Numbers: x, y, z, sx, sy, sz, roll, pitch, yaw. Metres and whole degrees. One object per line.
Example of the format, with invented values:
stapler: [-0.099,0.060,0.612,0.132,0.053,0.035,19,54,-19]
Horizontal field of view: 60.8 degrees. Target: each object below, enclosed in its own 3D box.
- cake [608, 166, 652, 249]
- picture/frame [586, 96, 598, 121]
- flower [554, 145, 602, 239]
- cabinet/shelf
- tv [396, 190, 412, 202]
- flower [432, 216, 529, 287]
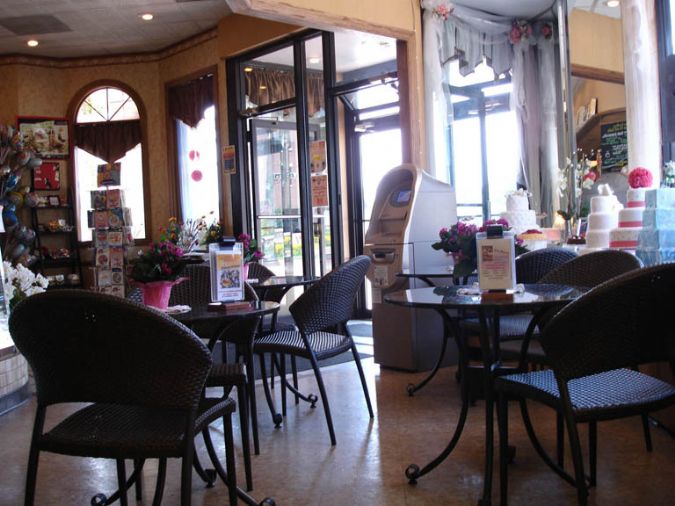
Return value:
cake: [1.967,-0.274,3.764,0.285,0.528,0.289,5,2,15]
picture/frame: [2.163,-1.229,4.874,0.009,0.160,0.114,-4,5,-23]
flower: [2.120,-0.472,5.177,0.255,0.702,0.239,-9,16,-9]
cabinet/shelf: [-4.302,-0.439,8.729,0.620,1.698,0.572,-7,4,-23]
tv: [0.550,-0.466,4.733,0.069,0.098,0.169,-5,6,-33]
flower: [0.704,-0.016,2.858,0.456,0.279,0.487,-2,5,9]
